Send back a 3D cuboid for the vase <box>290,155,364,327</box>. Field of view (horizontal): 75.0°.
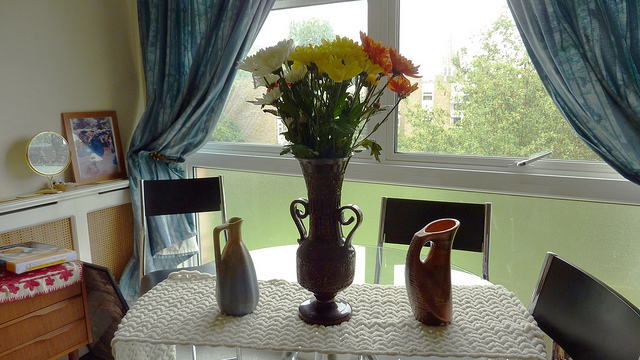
[{"bbox_3d":[0.036,0.282,1.972,0.327,0.787,0.248,-2,14,-4],"label":"vase"}]

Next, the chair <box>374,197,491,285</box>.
[{"bbox_3d":[0.652,0.342,2.407,0.553,0.537,0.272,2,-25,12],"label":"chair"}]

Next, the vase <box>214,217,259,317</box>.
[{"bbox_3d":[-0.401,0.418,2.001,0.199,0.454,0.147,-4,14,-10],"label":"vase"}]

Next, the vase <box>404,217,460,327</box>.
[{"bbox_3d":[0.546,0.439,1.970,0.238,0.480,0.197,-15,19,-43],"label":"vase"}]

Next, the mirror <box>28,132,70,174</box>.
[{"bbox_3d":[-2.022,-0.199,3.099,0.045,0.343,0.310,3,6,38],"label":"mirror"}]

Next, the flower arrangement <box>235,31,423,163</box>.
[{"bbox_3d":[0.051,-0.370,2.080,0.722,0.472,0.694,0,5,14],"label":"flower arrangement"}]
